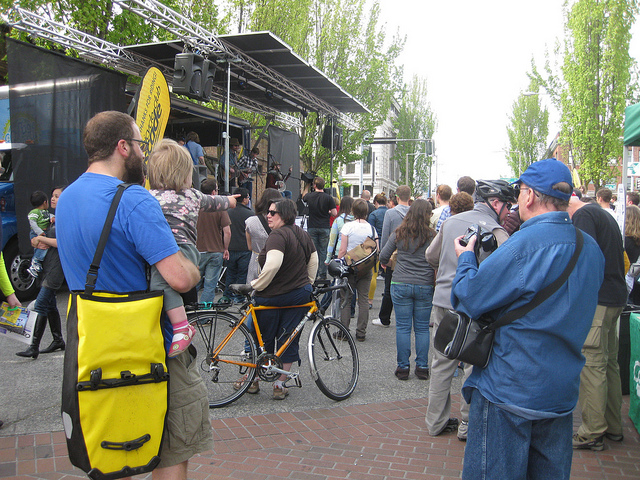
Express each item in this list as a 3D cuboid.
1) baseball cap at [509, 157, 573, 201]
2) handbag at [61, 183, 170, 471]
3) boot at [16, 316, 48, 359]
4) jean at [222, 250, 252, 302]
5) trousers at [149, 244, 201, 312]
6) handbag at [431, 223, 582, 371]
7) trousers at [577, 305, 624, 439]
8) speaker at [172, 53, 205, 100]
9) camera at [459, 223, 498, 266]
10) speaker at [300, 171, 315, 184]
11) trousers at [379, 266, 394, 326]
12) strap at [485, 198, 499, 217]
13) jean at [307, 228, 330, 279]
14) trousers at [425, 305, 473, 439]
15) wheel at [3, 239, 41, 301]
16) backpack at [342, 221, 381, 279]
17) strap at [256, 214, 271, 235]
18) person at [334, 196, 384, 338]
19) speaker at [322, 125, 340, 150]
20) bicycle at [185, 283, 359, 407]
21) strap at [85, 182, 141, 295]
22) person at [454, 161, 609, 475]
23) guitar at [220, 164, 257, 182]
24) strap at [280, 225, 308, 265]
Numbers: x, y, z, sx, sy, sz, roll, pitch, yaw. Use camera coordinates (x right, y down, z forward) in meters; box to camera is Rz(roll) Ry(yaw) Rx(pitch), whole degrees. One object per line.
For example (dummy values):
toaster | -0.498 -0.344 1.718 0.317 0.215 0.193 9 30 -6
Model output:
baseball cap | 1.405 -0.425 3.603 0.350 0.210 0.262 -4 41 -4
handbag | -1.130 0.520 3.142 0.560 1.609 0.350 -1 7 -22
boot | -3.596 1.222 7.136 0.353 0.560 0.338 2 7 4
jean | -1.524 0.598 10.113 0.496 1.164 0.365 -2 28 -15
trousers | -0.875 0.227 3.451 0.224 0.332 0.548 1 7 -3
handbag | 1.084 0.385 3.662 0.381 0.961 0.715 21 -3 -7
trousers | 2.630 1.217 5.270 0.633 1.213 0.332 -5 9 -44
speaker | -2.621 -3.368 11.457 0.424 0.851 0.681 7 12 17
camera | 1.086 0.068 3.779 0.219 0.307 0.275 5 -7 -27
speaker | -0.482 -2.311 21.158 0.542 0.207 0.470 8 3 3
trousers | 1.098 0.930 9.450 0.205 1.044 0.657 2 7 6
strap | 1.496 -0.278 4.959 0.123 0.156 0.042 3 7 15
jean | -0.038 0.316 12.452 0.449 1.148 0.645 1 7 1
trousers | 1.214 1.270 5.366 0.405 1.183 0.888 3 7 11
wheel | -4.770 0.448 9.051 0.265 0.809 0.807 -11 -26 15
backpack | 0.599 0.180 8.088 0.584 0.625 0.411 -4 1 -8
strap | -0.767 -0.206 7.872 0.061 0.265 0.146 -27 12 -16
person | 0.666 0.419 8.716 0.702 2.211 0.672 1 8 9
speaker | 0.328 -3.382 18.581 0.524 0.851 1.016 2 7 5
bicycle | -0.454 1.090 5.966 2.177 1.296 0.893 4 -21 -28
strap | -1.175 -0.010 3.159 0.258 0.609 0.141 -2 7 -24
person | 1.269 0.495 3.490 0.867 1.959 0.477 2 7 8
guitar | -2.316 -1.883 15.798 1.012 0.421 0.135 -10 25 -40
strap | -0.269 0.058 6.071 0.279 0.408 0.120 0 7 -10
